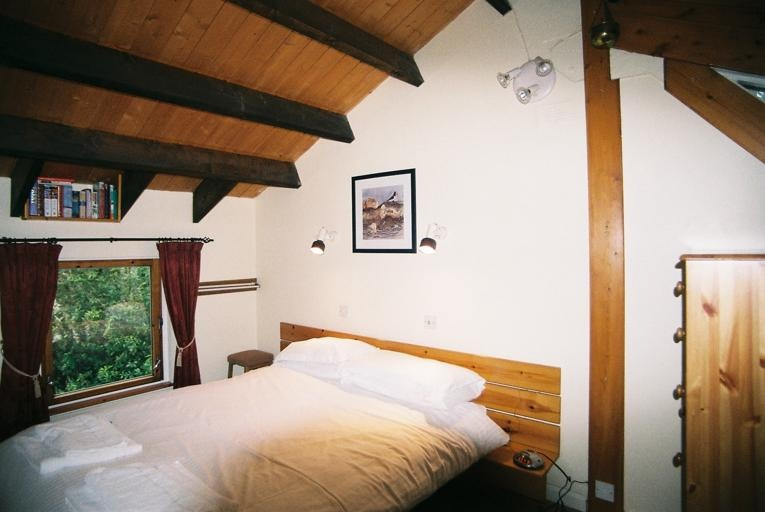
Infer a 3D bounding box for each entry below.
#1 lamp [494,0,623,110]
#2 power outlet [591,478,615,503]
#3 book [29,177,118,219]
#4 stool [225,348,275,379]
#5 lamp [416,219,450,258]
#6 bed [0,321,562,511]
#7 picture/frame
[{"bbox_3d":[1.324,-1.635,4.040,0.482,0.800,1.081,2,-2,-38],"label":"lamp"},{"bbox_3d":[1.706,1.821,4.090,0.037,0.222,0.209,-2,-2,-44],"label":"power outlet"},{"bbox_3d":[-2.852,-0.527,4.837,0.375,0.350,0.131,7,4,-37],"label":"book"},{"bbox_3d":[-1.448,1.133,5.854,0.354,0.314,0.358,2,3,39],"label":"stool"},{"bbox_3d":[0.454,-0.152,4.755,0.179,0.316,0.136,31,-36,-17],"label":"lamp"},{"bbox_3d":[-0.316,1.303,4.267,2.942,1.108,2.127,2,-2,-33],"label":"bed"},{"bbox_3d":[0.030,-0.438,5.102,0.837,0.886,0.036,1,4,37],"label":"picture/frame"}]
